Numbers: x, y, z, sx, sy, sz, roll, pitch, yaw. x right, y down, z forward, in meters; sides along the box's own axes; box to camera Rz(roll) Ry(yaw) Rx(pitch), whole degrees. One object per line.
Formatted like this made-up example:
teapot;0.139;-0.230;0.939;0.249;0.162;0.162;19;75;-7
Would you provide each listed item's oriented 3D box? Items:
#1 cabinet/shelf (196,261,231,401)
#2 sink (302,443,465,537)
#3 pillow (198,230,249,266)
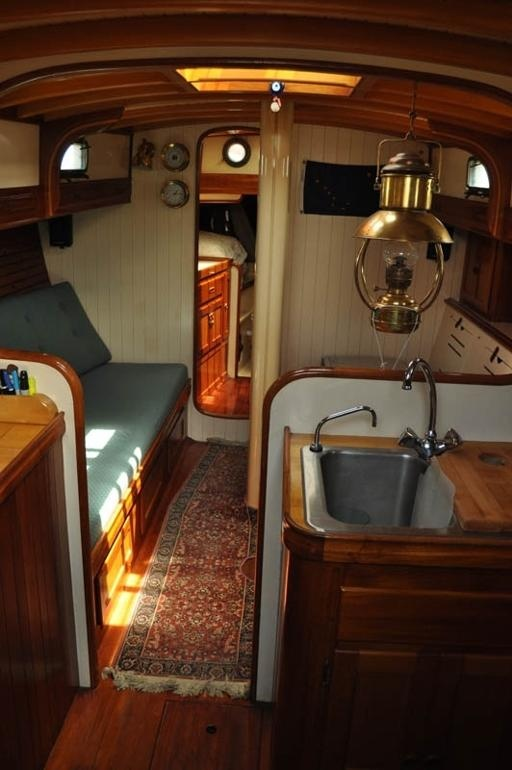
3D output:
cabinet/shelf;-0.426;-0.533;5.491;0.407;1.124;1.147;0;16;2
sink;0.366;0.370;1.804;0.315;0.247;0.337;1;34;-2
pillow;-0.400;-1.568;6.548;0.778;0.193;0.790;3;22;-3
